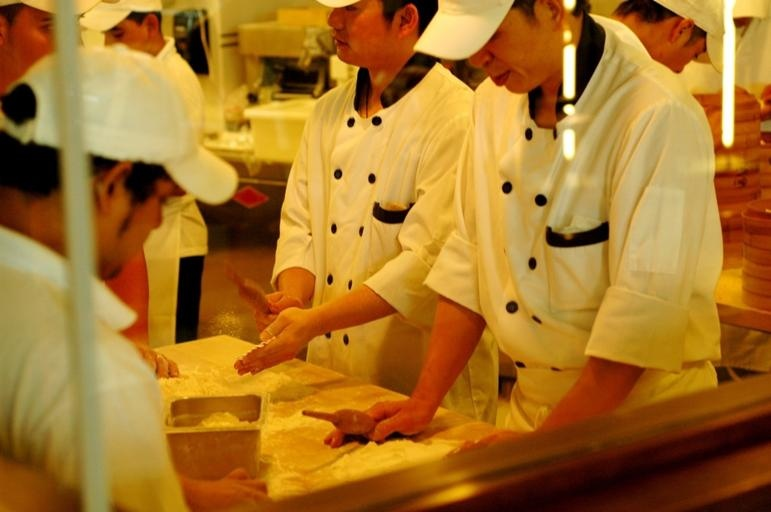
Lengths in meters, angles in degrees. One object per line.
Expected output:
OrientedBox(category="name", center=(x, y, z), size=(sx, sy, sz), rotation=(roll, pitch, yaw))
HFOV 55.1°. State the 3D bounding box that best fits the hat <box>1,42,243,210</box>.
OrientedBox(category="hat", center=(-0.354, -0.189, 1.057), size=(0.140, 0.206, 0.332), rotation=(11, 9, 42))
